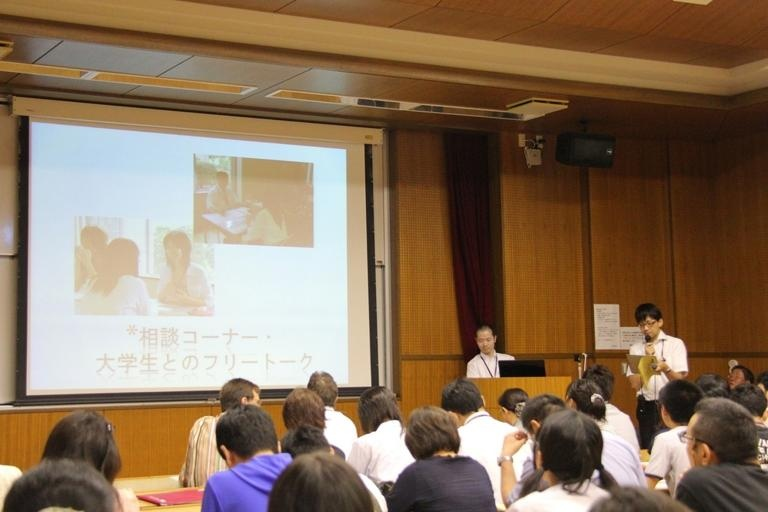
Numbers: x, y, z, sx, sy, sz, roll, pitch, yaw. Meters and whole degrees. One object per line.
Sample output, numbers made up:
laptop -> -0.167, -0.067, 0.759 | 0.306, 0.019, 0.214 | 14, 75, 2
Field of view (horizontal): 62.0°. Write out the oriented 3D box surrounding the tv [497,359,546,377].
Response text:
tv -> 1.533, 1.232, 7.132 | 0.343, 0.221, 0.219 | 0, -3, -1
